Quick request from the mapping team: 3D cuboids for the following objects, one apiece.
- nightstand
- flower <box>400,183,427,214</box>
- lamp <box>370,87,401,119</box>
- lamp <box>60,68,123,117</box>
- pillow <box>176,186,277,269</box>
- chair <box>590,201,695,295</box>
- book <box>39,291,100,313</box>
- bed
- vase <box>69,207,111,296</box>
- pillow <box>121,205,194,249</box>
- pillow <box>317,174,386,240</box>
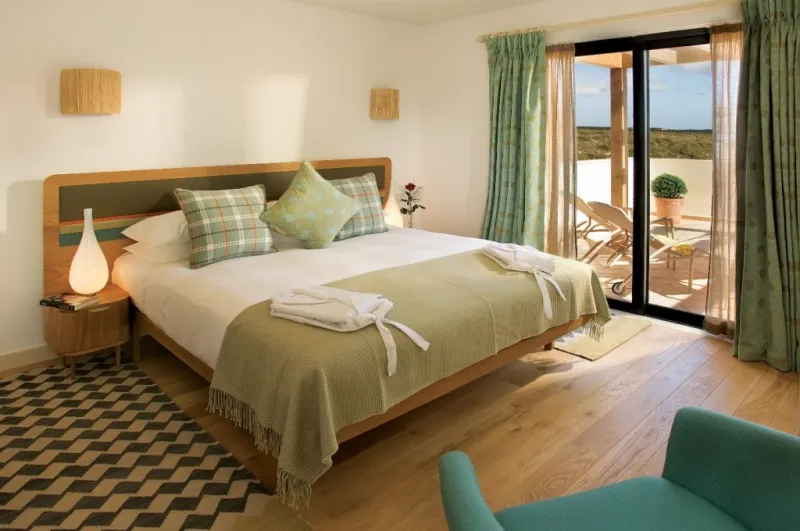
[{"bbox_3d":[-2.375,0.446,3.944,0.657,0.578,0.583,-8,14,-38],"label":"nightstand"},{"bbox_3d":[0.131,-0.807,6.074,0.427,0.397,0.390,2,4,20],"label":"flower"},{"bbox_3d":[-0.186,-1.794,5.602,0.370,0.320,0.364,-10,17,-40],"label":"lamp"},{"bbox_3d":[-2.510,-1.392,4.004,0.446,0.295,0.362,9,15,19],"label":"lamp"},{"bbox_3d":[-1.424,-0.286,4.015,0.683,0.500,0.300,-9,12,-36],"label":"pillow"},{"bbox_3d":[2.383,-0.219,4.838,1.104,0.739,0.661,-6,12,-20],"label":"chair"},{"bbox_3d":[-2.566,0.292,3.815,0.477,0.078,0.201,1,13,12],"label":"book"},{"bbox_3d":[-0.737,0.348,3.568,2.099,0.921,1.842,-11,17,-40],"label":"bed"},{"bbox_3d":[-2.450,-0.092,3.840,0.256,0.670,0.209,-11,17,-32],"label":"vase"},{"bbox_3d":[-1.982,-0.306,4.051,0.310,0.144,0.505,19,24,34],"label":"pillow"},{"bbox_3d":[-0.541,-0.550,4.970,0.205,0.599,0.678,-14,1,40],"label":"pillow"}]
